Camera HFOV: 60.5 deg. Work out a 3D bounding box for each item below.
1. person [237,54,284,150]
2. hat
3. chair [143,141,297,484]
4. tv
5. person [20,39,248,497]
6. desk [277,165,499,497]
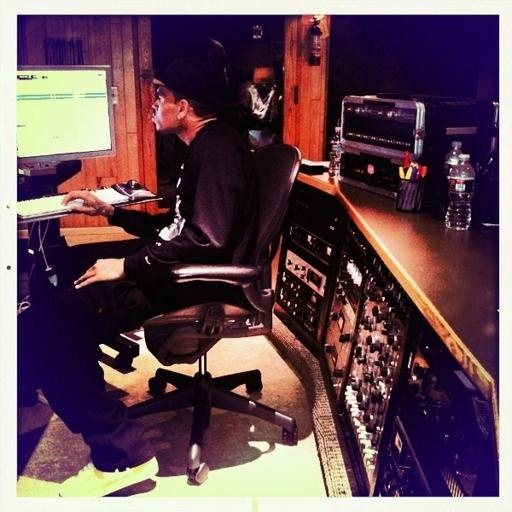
[{"bbox_3d":[0.061,-1.624,5.225,0.721,1.062,1.010,-1,9,-3],"label":"person"},{"bbox_3d":[-0.202,-0.645,1.501,0.253,0.140,0.166,20,40,-7],"label":"hat"},{"bbox_3d":[-0.145,0.142,1.639,0.600,1.058,0.653,5,8,18],"label":"chair"},{"bbox_3d":[-0.903,-0.689,2.135,0.050,0.407,0.555,3,16,22],"label":"tv"},{"bbox_3d":[-0.445,0.053,1.649,0.735,1.532,0.673,2,5,-10],"label":"person"},{"bbox_3d":[0.422,0.570,1.995,0.334,1.597,0.701,-28,46,-24],"label":"desk"}]
